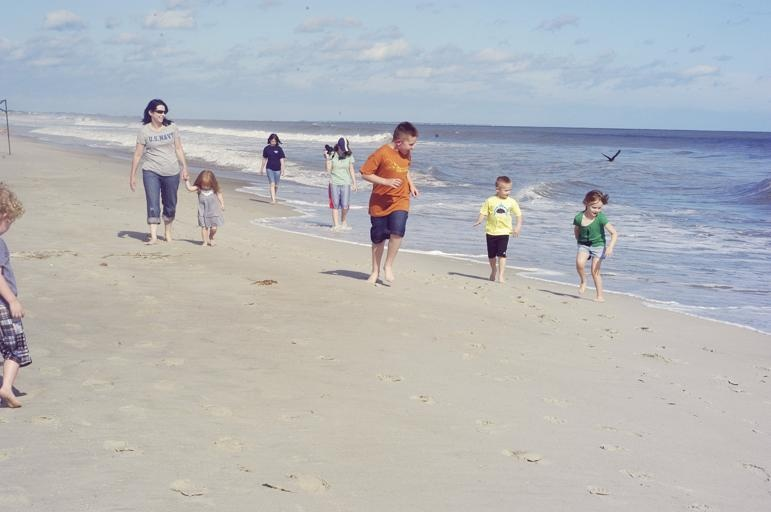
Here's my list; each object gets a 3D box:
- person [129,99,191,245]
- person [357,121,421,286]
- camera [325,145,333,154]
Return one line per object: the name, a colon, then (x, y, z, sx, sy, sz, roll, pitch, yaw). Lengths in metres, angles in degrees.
person: (-3.474, -1.265, 10.892, 0.842, 2.298, 1.424, 0, 18, -16)
person: (0.012, -0.643, 9.267, 0.696, 2.258, 0.625, 7, 19, 3)
camera: (-1.226, -2.320, 15.292, 0.195, 0.138, 0.418, -2, 2, -5)
